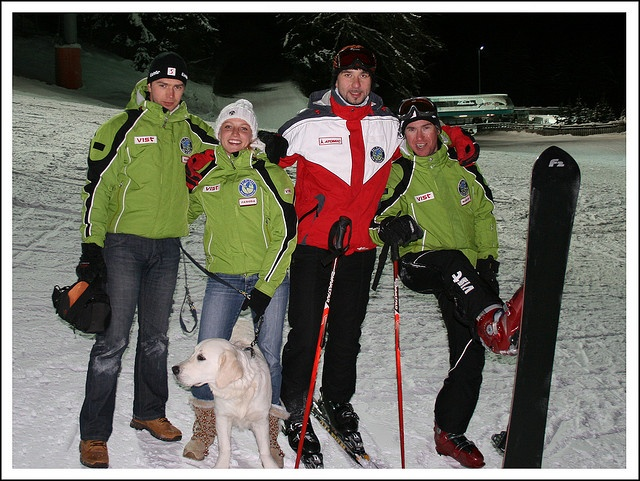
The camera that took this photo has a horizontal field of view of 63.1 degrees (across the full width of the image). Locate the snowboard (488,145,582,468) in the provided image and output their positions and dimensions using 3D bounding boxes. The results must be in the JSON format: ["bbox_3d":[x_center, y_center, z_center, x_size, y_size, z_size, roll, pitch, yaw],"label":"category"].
[{"bbox_3d":[1.607,0.479,3.864,0.630,2.309,0.598,0,14,-4],"label":"snowboard"}]

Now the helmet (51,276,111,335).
[{"bbox_3d":[-1.740,0.466,3.819,0.280,0.368,0.448,-6,13,-43],"label":"helmet"}]

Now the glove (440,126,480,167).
[{"bbox_3d":[1.197,-0.806,4.421,0.289,0.381,0.136,-40,-10,13],"label":"glove"}]

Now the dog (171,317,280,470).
[{"bbox_3d":[-0.580,1.146,3.651,0.573,0.996,0.656,7,11,24],"label":"dog"}]

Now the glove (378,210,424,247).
[{"bbox_3d":[0.648,-0.074,4.175,0.366,0.265,0.214,4,10,8],"label":"glove"}]

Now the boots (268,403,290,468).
[{"bbox_3d":[-0.349,1.461,3.942,0.139,0.420,0.183,-8,-7,-22],"label":"boots"}]

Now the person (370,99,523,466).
[{"bbox_3d":[0.978,0.397,4.408,1.135,2.966,1.077,6,12,9],"label":"person"}]

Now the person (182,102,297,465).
[{"bbox_3d":[-0.581,0.256,4.203,0.954,2.671,0.842,-3,6,-32],"label":"person"}]

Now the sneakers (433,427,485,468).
[{"bbox_3d":[1.124,1.659,4.215,0.194,0.222,0.515,-4,2,-26],"label":"sneakers"}]

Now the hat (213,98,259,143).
[{"bbox_3d":[-0.626,-0.917,4.005,0.276,0.252,0.346,3,0,-7],"label":"hat"}]
